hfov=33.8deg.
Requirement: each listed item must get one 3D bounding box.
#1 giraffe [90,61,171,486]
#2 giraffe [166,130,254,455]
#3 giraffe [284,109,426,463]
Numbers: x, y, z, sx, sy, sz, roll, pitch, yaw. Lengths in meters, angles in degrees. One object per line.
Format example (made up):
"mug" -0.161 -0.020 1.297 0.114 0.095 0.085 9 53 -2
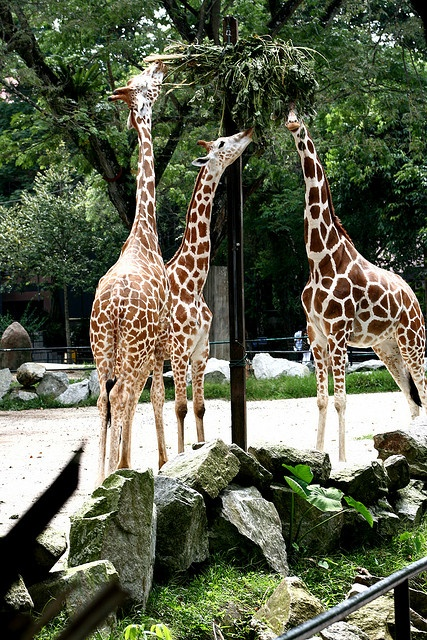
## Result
"giraffe" -0.535 -0.433 4.610 0.493 2.907 1.310 2 2 -4
"giraffe" -0.096 -0.196 5.686 0.573 2.560 0.754 2 2 -6
"giraffe" 1.111 -0.231 5.799 1.557 2.691 0.624 1 2 -31
